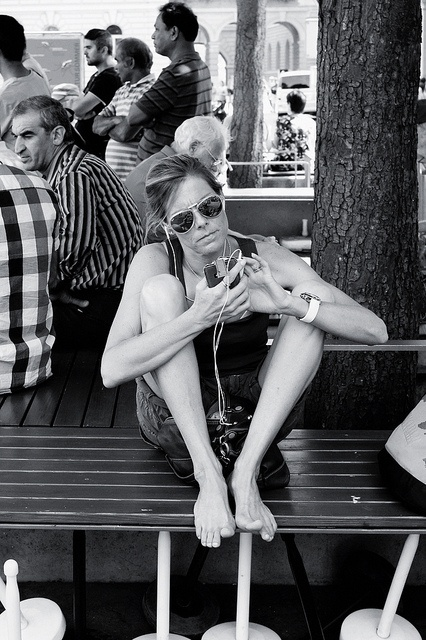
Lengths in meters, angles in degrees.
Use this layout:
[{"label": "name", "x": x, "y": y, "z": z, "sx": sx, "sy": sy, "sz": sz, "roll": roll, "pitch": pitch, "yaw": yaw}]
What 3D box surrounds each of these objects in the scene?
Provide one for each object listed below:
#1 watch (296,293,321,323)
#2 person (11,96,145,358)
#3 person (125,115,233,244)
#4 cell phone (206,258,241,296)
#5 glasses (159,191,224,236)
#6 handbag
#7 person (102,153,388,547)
[{"label": "watch", "x": 0.248, "y": -0.048, "z": 2.034, "sx": 0.052, "sy": 0.082, "sz": 0.074, "roll": 5, "pitch": -2, "yaw": -21}, {"label": "person", "x": -0.670, "y": -0.394, "z": 3.596, "sx": 0.589, "sy": 1.175, "sz": 0.593, "roll": 2, "pitch": 23, "yaw": -20}, {"label": "person", "x": -0.138, "y": -0.530, "z": 3.632, "sx": 0.560, "sy": 0.821, "sz": 0.539, "roll": 0, "pitch": 17, "yaw": -6}, {"label": "cell phone", "x": 0.027, "y": -0.132, "z": 2.059, "sx": 0.092, "sy": 0.075, "sz": 0.099, "roll": -1, "pitch": 11, "yaw": -11}, {"label": "glasses", "x": -0.049, "y": -0.296, "z": 2.078, "sx": 0.143, "sy": 0.103, "sz": 0.255, "roll": 3, "pitch": 12, "yaw": 15}, {"label": "handbag", "x": 0.007, "y": 0.311, "z": 2.063, "sx": 0.281, "sy": 0.320, "sz": 0.217, "roll": -18, "pitch": 2, "yaw": -26}, {"label": "person", "x": 0.054, "y": 0.102, "z": 2.178, "sx": 0.801, "sy": 1.248, "sz": 0.635, "roll": -2, "pitch": 10, "yaw": -15}]
